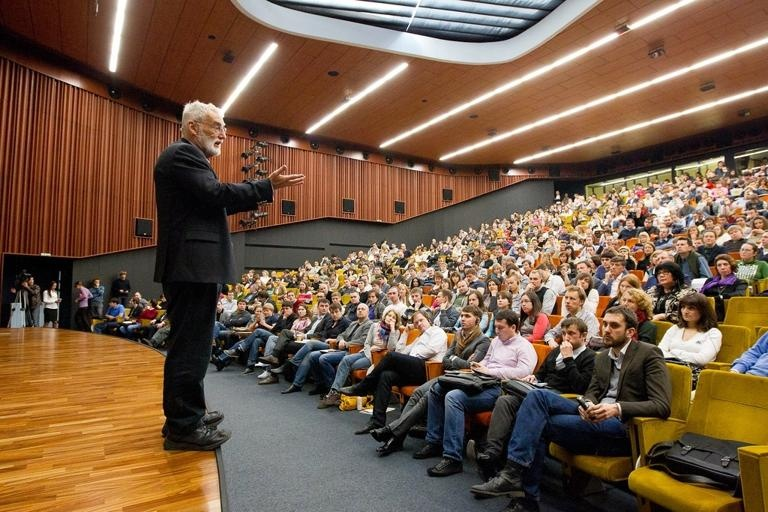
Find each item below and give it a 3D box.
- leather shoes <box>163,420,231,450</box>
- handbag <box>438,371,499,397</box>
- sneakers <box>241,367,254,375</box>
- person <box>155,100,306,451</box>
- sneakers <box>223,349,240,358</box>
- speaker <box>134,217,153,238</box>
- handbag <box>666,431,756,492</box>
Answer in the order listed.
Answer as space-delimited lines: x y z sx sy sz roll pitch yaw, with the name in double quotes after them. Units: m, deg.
-1.027 1.015 2.565 0.375 0.182 0.145 1 0 -13 "leather shoes"
0.643 0.948 3.393 0.244 0.086 0.240 0 -2 -36 "handbag"
-1.813 1.540 5.952 0.175 0.072 0.070 9 -13 -32 "sneakers"
-0.974 0.211 2.547 0.627 1.717 0.344 -6 9 -25 "person"
-2.146 1.373 6.349 0.223 0.095 0.097 2 -33 40 "sneakers"
-5.245 -0.622 9.801 0.138 0.407 0.432 -7 -10 38 "speaker"
1.820 1.130 2.532 0.395 0.132 0.404 -5 -11 -31 "handbag"
